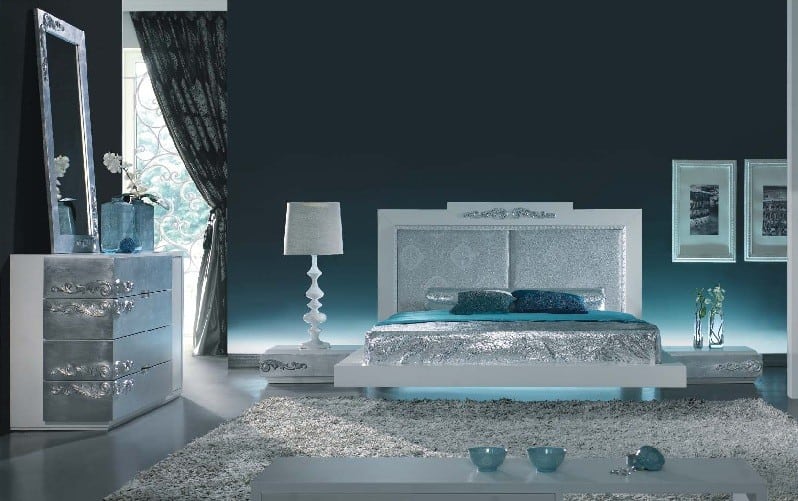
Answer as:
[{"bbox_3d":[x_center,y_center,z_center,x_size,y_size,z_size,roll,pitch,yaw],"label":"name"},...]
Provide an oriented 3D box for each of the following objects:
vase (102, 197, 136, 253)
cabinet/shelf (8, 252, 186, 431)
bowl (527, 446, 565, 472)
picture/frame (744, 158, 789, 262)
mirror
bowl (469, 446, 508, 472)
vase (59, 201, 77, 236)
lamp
[{"bbox_3d":[-2.494,-0.207,6.098,0.295,0.427,0.160,-4,12,-17],"label":"vase"},{"bbox_3d":[-2.795,0.809,6.372,1.103,1.312,1.802,0,-2,-2],"label":"cabinet/shelf"},{"bbox_3d":[0.824,1.171,3.841,0.175,0.074,0.162,-1,-8,0],"label":"bowl"},{"bbox_3d":[3.997,-0.437,7.486,0.459,1.116,0.236,-1,12,0],"label":"picture/frame"},{"bbox_3d":[-2.922,-1.059,6.037,0.410,2.061,0.972,-6,13,-21],"label":"mirror"},{"bbox_3d":[0.506,1.179,3.869,0.176,0.071,0.164,-2,-8,0],"label":"bowl"},{"bbox_3d":[-2.887,-0.290,5.963,0.107,0.306,0.226,-4,12,-15],"label":"vase"},{"bbox_3d":[-0.867,0.222,7.087,0.573,1.452,0.710,-2,12,-7],"label":"lamp"}]
